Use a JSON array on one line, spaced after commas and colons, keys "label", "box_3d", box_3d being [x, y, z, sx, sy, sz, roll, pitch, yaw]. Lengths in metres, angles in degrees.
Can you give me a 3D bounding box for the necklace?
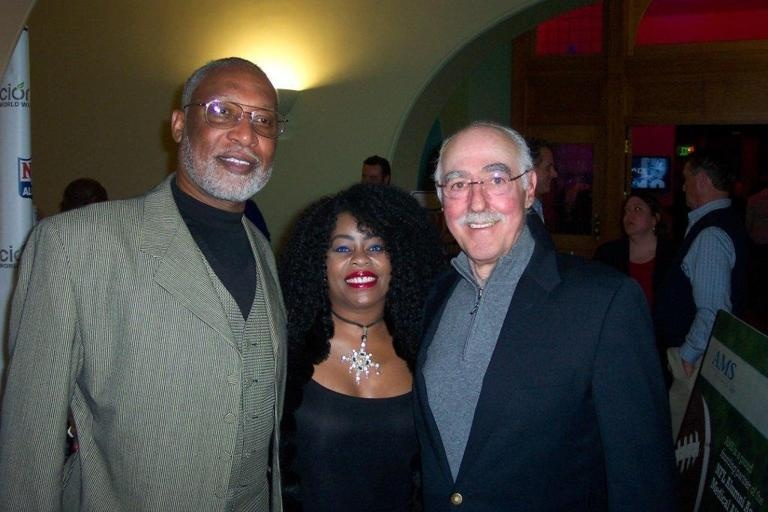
[{"label": "necklace", "box_3d": [-0.140, 0.473, 2.916, 0.316, 0.370, 0.048, 10, -27, -18]}]
